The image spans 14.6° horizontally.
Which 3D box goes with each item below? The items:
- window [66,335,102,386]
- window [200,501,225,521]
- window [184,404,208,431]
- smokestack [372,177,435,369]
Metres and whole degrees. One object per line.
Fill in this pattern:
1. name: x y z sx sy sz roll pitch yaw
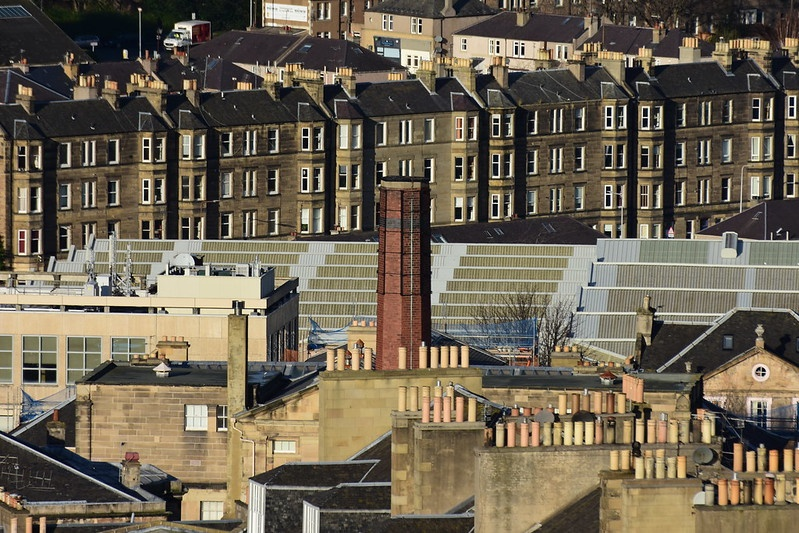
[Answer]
1. window: -18.647 5.317 184.802 2.910 2.083 0.218 -14 -4 27
2. window: -10.136 13.192 167.623 1.100 0.975 1.053 0 -1 -6
3. window: -11.086 8.056 169.480 1.535 1.529 0.230 2 16 12
4. smokestack: 0.058 -0.332 160.304 3.103 9.308 2.122 -4 6 -11
